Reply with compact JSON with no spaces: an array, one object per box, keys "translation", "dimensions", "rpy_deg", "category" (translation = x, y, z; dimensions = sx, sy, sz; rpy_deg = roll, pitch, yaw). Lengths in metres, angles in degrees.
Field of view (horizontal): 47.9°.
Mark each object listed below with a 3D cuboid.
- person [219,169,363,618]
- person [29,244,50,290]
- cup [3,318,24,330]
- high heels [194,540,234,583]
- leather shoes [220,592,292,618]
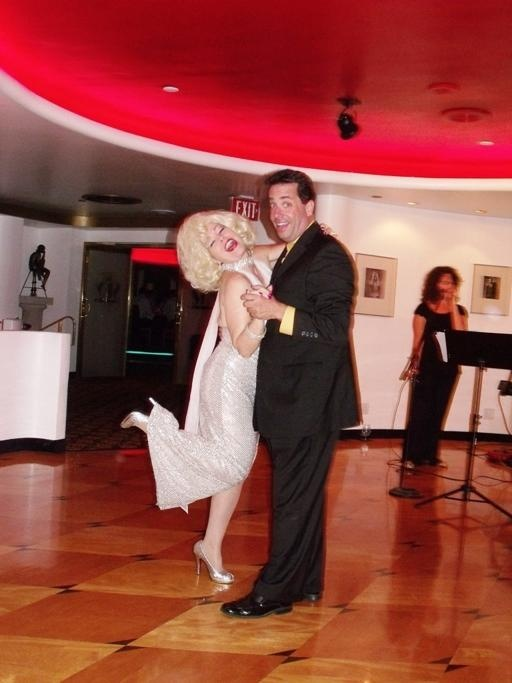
[{"translation":[0.150,0.205,1.949],"dimensions":[0.429,1.553,0.542],"rpy_deg":[4,-3,-1],"category":"person"},{"translation":[-4.082,-1.398,10.883],"dimensions":[0.371,0.648,0.631],"rpy_deg":[5,-3,-18],"category":"person"},{"translation":[-2.293,-0.158,5.363],"dimensions":[0.209,0.125,0.140],"rpy_deg":[0,4,-1],"category":"cup"},{"translation":[-0.167,0.895,2.336],"dimensions":[0.198,0.130,0.095],"rpy_deg":[8,-8,20],"category":"high heels"},{"translation":[-0.004,0.915,2.027],"dimensions":[0.237,0.087,0.088],"rpy_deg":[5,-9,-12],"category":"leather shoes"}]
